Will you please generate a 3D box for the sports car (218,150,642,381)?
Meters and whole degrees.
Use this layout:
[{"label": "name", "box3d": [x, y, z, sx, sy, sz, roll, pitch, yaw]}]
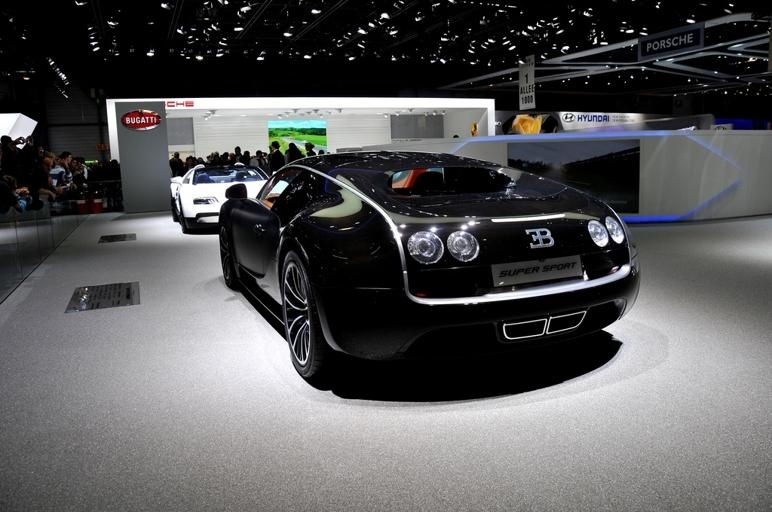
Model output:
[{"label": "sports car", "box3d": [-0.250, 0.020, 3.466, 1.860, 0.865, 3.094, -5, 12, -26]}]
